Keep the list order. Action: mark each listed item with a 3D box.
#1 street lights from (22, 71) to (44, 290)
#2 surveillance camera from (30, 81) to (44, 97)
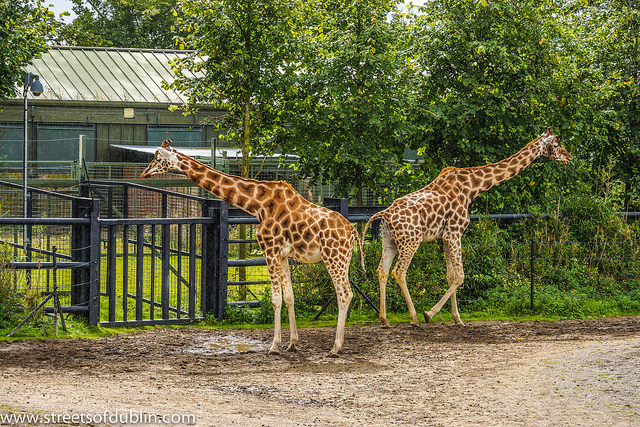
[{"bbox_3d":[-8.707,-1.520,35.542,0.758,5.351,0.642,6,-12,-36],"label":"street lights"},{"bbox_3d":[-8.637,-3.770,36.027,0.380,0.578,0.396,3,3,23],"label":"surveillance camera"}]
